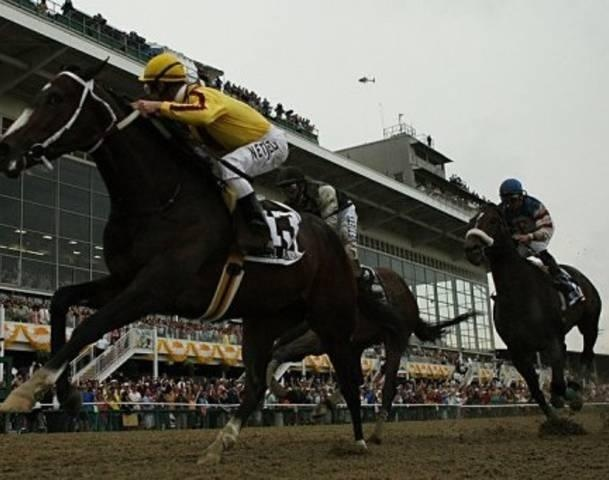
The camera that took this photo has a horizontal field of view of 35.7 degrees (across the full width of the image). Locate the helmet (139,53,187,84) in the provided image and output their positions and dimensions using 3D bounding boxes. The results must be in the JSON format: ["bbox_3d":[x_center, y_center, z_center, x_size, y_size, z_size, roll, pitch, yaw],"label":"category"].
[{"bbox_3d":[-1.495,-1.806,9.930,0.412,0.209,0.310,6,0,-27],"label":"helmet"}]

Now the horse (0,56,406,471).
[{"bbox_3d":[-1.101,0.274,10.059,4.421,4.059,1.567,14,-22,-42],"label":"horse"}]

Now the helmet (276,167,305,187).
[{"bbox_3d":[-0.199,-0.804,12.085,0.301,0.177,0.245,2,0,-15],"label":"helmet"}]

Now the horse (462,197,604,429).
[{"bbox_3d":[3.210,1.010,13.009,1.542,3.156,3.220,-7,-17,18],"label":"horse"}]

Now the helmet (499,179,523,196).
[{"bbox_3d":[2.888,-0.737,13.236,0.302,0.239,0.364,-4,-16,10],"label":"helmet"}]
